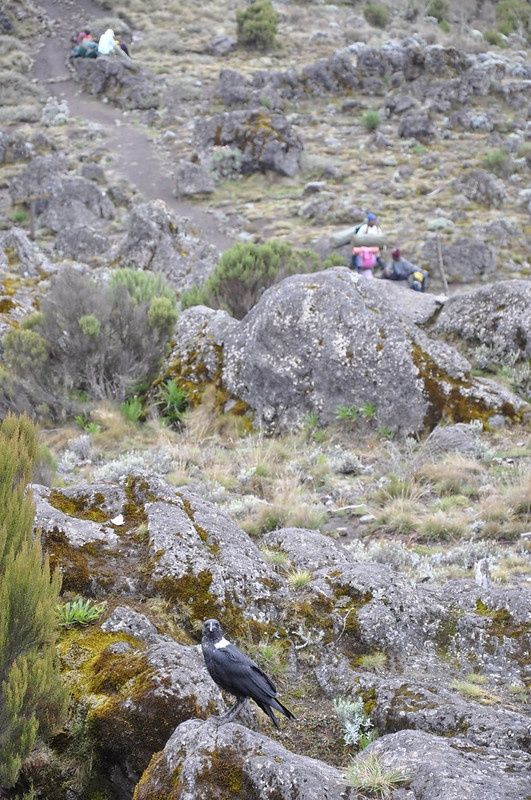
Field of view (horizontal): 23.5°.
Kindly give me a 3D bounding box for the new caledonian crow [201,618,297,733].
[{"bbox_3d":[-0.156,1.903,8.916,0.713,0.585,0.442,12,18,5],"label":"new caledonian crow"}]
